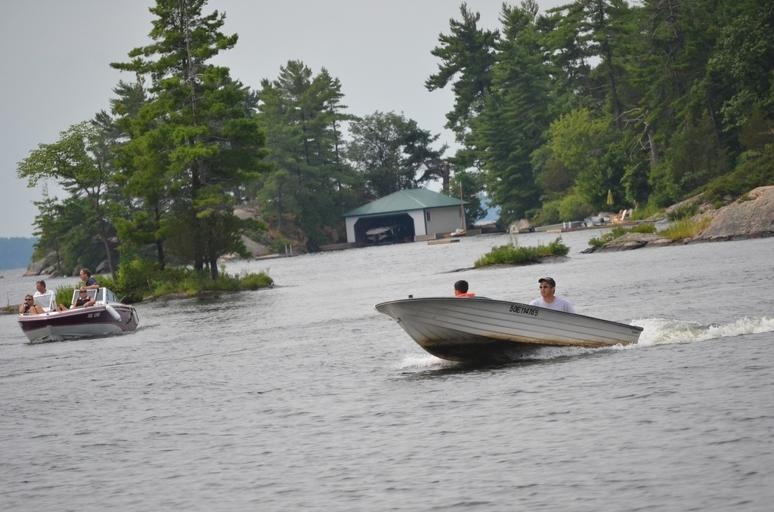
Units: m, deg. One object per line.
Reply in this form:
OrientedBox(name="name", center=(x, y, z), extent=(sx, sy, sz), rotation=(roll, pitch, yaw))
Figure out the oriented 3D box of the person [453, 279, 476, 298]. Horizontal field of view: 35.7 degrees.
OrientedBox(name="person", center=(3.323, 1.369, 50.944), extent=(0.651, 0.744, 0.864), rotation=(4, 10, -4))
